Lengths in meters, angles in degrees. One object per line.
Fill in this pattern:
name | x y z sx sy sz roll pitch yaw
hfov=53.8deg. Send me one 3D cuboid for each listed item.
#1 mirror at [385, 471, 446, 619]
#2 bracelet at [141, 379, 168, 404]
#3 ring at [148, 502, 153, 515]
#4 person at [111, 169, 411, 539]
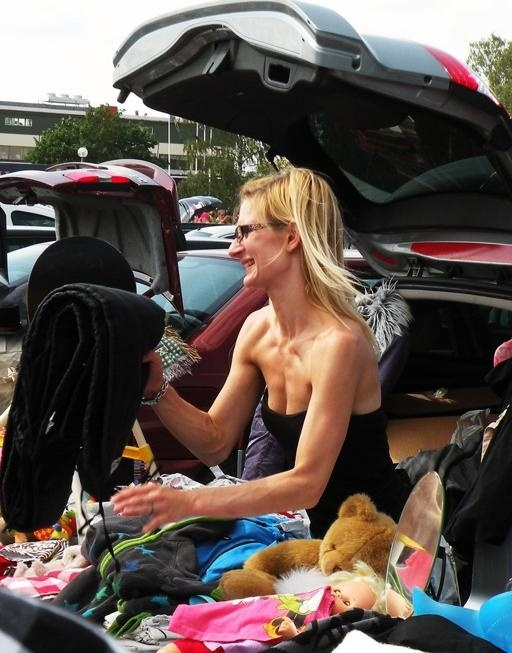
mirror | 0.462 0.628 1.476 0.130 0.327 0.328 6 10 29
bracelet | -0.367 0.241 1.792 0.089 0.099 0.041 -10 -17 30
ring | -0.276 0.474 1.308 0.012 0.034 0.013 1 9 0
person | -0.008 0.139 1.827 0.975 1.438 0.744 -7 12 -44
